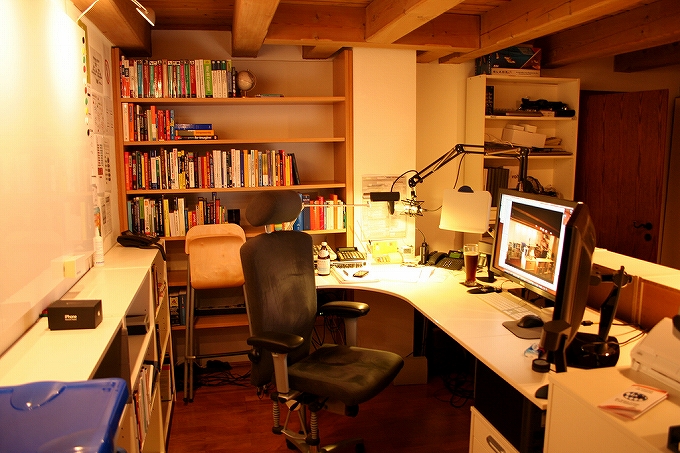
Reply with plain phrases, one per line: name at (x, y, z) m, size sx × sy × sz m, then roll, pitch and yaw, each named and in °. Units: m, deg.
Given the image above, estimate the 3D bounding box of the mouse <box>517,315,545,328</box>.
mouse at (1.066, 0.534, 2.916) m, size 0.087 × 0.023 × 0.085 m, roll -10°, pitch 13°, yaw -39°

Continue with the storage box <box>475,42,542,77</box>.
storage box at (1.500, -1.481, 4.664) m, size 0.583 × 0.287 × 0.334 m, roll 2°, pitch 11°, yaw 11°

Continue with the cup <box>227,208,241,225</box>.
cup at (-0.883, -0.082, 4.312) m, size 0.130 × 0.211 × 0.121 m, roll 1°, pitch 3°, yaw 0°

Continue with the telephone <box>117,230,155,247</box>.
telephone at (-1.497, 0.093, 3.828) m, size 0.232 × 0.086 × 0.121 m, roll 2°, pitch 1°, yaw -1°
